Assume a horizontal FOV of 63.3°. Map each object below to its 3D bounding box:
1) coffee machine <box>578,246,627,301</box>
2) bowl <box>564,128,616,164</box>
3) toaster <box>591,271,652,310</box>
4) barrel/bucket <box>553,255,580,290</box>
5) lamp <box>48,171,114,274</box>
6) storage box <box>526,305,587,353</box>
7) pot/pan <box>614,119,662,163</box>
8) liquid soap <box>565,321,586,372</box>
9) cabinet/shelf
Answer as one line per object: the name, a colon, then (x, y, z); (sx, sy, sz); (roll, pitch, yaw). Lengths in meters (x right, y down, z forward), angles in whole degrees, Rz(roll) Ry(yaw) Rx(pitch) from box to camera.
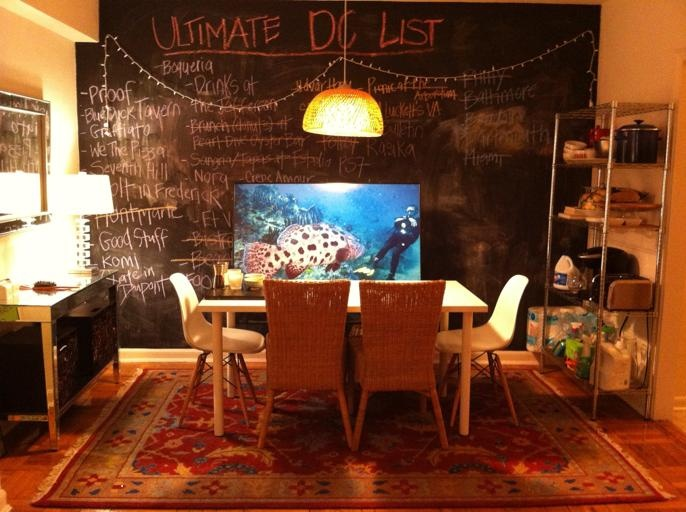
coffee machine: (1.998, 0.125, 4.286); (0.426, 0.477, 0.326); (3, 5, 20)
bowl: (1.950, -0.864, 4.421); (0.247, 0.158, 0.404); (-1, 7, -3)
toaster: (2.105, 0.262, 4.226); (0.380, 0.277, 0.268); (1, 10, -4)
barrel/bucket: (1.866, 0.152, 4.687); (0.212, 0.269, 0.270); (1, 9, 4)
lamp: (-2.233, -0.291, 4.685); (0.499, 0.790, 0.731); (-6, 9, -28)
storage box: (1.872, 0.636, 4.835); (0.494, 0.397, 0.171); (1, 2, 8)
pot/pan: (2.139, -0.817, 4.042); (0.340, 0.307, 0.321); (-1, 8, -1)
liquid soap: (1.905, 0.732, 4.587); (0.085, 0.303, 0.320); (3, -7, 16)
cabinet/shelf: (1.934, -0.090, 4.368); (1.454, 2.757, 0.619); (11, -20, -35)
